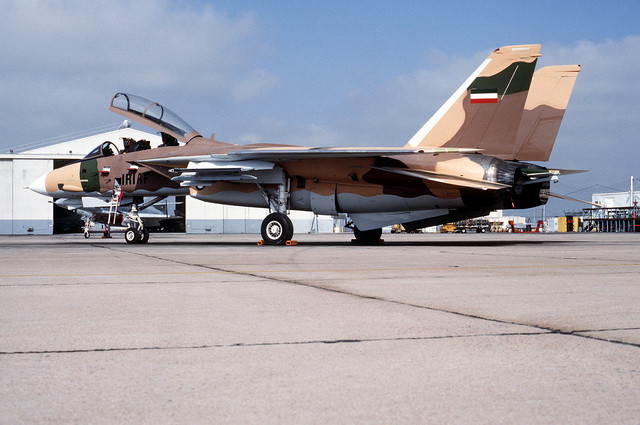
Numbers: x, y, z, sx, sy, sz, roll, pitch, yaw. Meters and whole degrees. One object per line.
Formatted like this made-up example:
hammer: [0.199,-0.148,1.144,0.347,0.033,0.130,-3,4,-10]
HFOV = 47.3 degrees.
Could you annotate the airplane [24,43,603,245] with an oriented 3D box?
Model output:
airplane: [-0.247,-1.385,19.086,11.589,2.382,6.023,0,0,20]
